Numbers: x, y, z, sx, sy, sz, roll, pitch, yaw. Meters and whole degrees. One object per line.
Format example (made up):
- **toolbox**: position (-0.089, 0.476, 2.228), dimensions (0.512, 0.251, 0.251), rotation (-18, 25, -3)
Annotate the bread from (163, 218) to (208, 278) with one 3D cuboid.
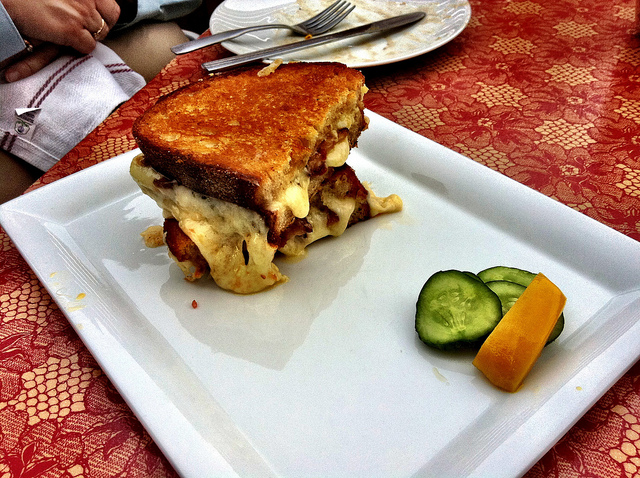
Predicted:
- **bread**: position (-0.422, 0.019, 1.641), dimensions (0.045, 0.118, 0.169), rotation (-35, 91, 20)
